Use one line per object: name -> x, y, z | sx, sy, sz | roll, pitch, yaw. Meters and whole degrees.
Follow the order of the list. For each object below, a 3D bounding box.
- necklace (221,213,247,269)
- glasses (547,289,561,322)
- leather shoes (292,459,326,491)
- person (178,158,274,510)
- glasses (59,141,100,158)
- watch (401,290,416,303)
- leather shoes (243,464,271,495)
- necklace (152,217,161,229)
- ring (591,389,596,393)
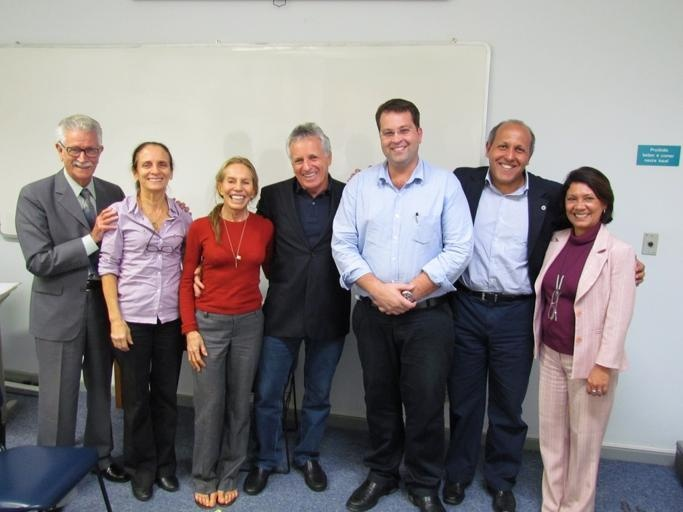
necklace -> -0.594, -0.075, 3.192 | 0.133, 0.252, 0.110 | -4, 13, -15
glasses -> 1.164, 0.280, 3.081 | 0.035, 0.128, 0.078 | 10, -4, -8
leather shoes -> -0.186, 1.344, 3.457 | 0.082, 0.098, 0.227 | 1, 4, -30
person -> -0.643, 0.439, 3.246 | 0.549, 1.964, 0.378 | -5, 13, -18
glasses -> -1.551, -0.629, 3.351 | 0.227, 0.082, 0.093 | -8, 15, -28
watch -> 0.356, 0.216, 2.987 | 0.049, 0.071, 0.021 | -32, 0, -8
leather shoes -> -0.515, 1.348, 3.402 | 0.084, 0.083, 0.183 | 6, 6, 11
necklace -> -1.061, -0.184, 3.221 | 0.044, 0.050, 0.048 | -5, 2, 3
ring -> 1.343, 0.716, 2.988 | 0.017, 0.014, 0.018 | 0, -3, 0
